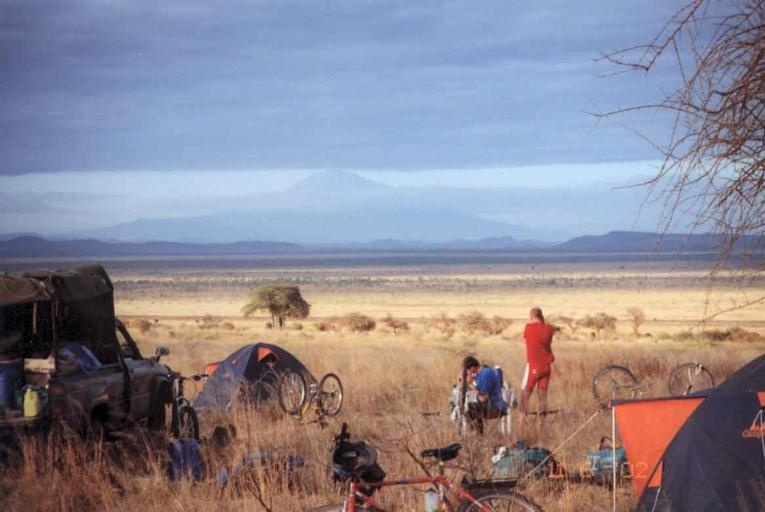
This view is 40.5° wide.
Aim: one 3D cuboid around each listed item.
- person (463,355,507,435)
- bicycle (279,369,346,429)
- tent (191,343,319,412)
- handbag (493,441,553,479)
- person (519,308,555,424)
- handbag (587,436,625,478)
[{"bbox_3d":[2.117,3.085,21.911,0.959,1.940,0.895,-3,-7,14],"label":"person"},{"bbox_3d":[-1.654,3.396,25.119,1.612,0.998,0.812,7,-11,-32],"label":"bicycle"},{"bbox_3d":[-3.173,2.989,25.802,2.618,1.409,3.100,-3,-1,-21],"label":"tent"},{"bbox_3d":[2.668,3.890,19.612,0.892,0.413,0.736,2,-2,-17],"label":"handbag"},{"bbox_3d":[3.416,2.424,23.117,0.734,2.522,0.952,-1,-9,8],"label":"person"},{"bbox_3d":[4.242,3.884,19.735,0.512,0.624,0.962,-1,-5,2],"label":"handbag"}]
